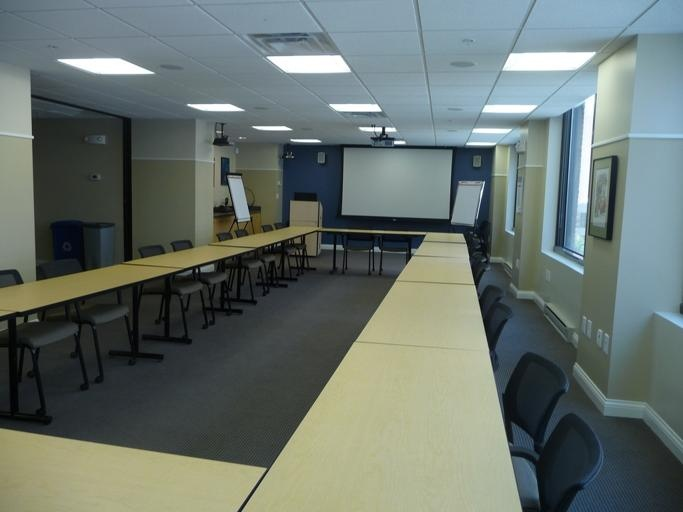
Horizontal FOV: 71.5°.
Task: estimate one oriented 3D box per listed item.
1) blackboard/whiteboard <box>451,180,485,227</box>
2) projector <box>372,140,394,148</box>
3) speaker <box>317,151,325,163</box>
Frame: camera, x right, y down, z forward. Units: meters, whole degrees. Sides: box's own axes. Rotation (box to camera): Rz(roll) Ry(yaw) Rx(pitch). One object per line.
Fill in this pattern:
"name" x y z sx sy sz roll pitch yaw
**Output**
"blackboard/whiteboard" 3.114 -1.280 11.670 0.522 1.076 1.263 1 10 -8
"projector" 0.832 -2.240 9.417 0.379 0.120 0.249 2 10 -4
"speaker" -0.598 -2.858 13.836 0.247 0.335 0.211 3 9 5
